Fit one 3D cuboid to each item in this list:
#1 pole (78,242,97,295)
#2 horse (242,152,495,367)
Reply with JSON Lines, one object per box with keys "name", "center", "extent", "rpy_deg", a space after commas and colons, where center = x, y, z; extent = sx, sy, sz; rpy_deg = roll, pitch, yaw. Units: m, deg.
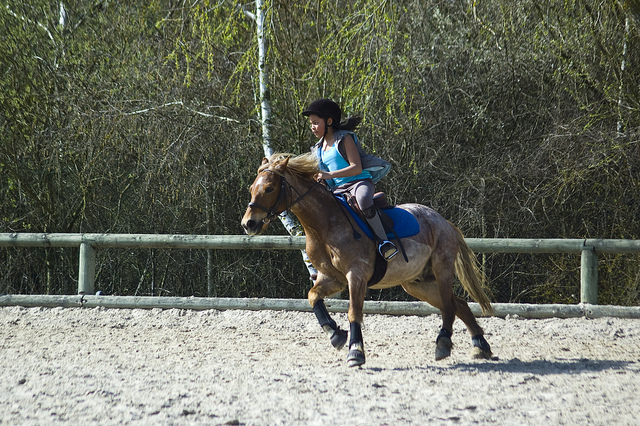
{"name": "pole", "center": [-3.971, 0.941, 13.988], "extent": [0.295, 0.924, 0.213], "rpy_deg": [-4, 10, -20]}
{"name": "horse", "center": [0.937, 0.781, 11.774], "extent": [3.971, 3.186, 1.145], "rpy_deg": [3, -20, -27]}
